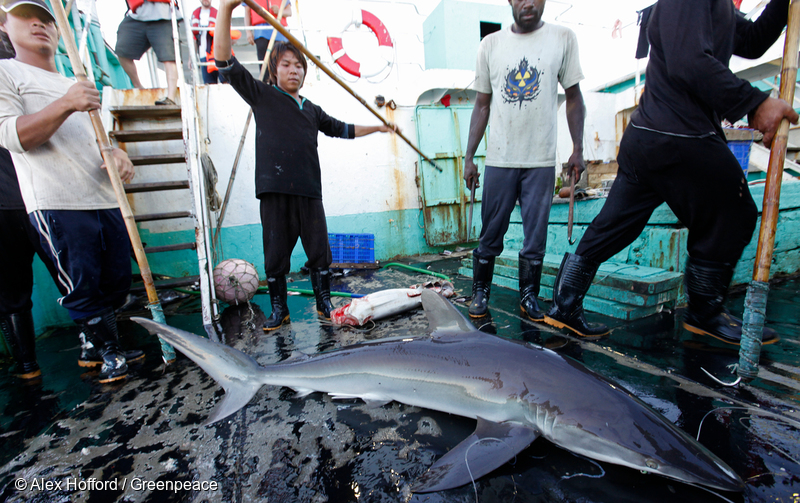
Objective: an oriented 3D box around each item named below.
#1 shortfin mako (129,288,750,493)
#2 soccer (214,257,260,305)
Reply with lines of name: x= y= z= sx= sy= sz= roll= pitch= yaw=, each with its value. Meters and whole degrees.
shortfin mako: x=0.137 y=0.890 z=3.664 sx=4.333 sy=1.152 sz=1.547 roll=6 pitch=8 yaw=11
soccer: x=-2.216 y=0.408 z=6.093 sx=0.602 sy=0.593 sz=0.537 roll=3 pitch=-13 yaw=29
